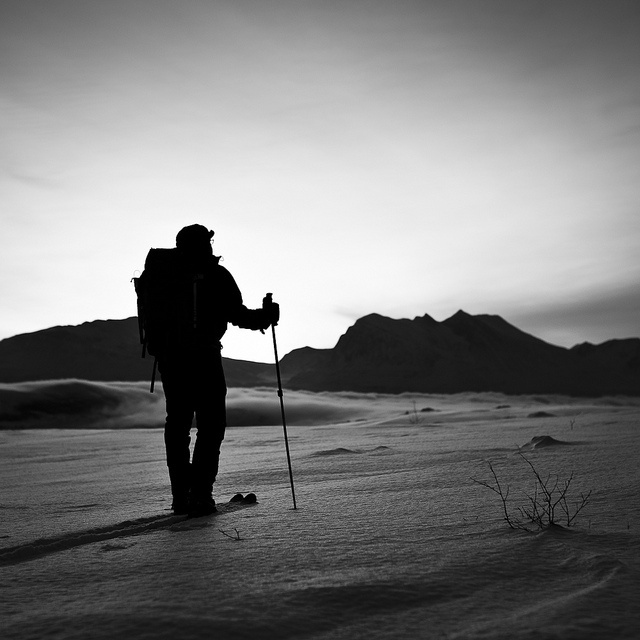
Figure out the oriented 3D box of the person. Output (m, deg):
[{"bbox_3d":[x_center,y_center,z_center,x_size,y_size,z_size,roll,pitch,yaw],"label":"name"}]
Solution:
[{"bbox_3d":[-0.704,0.260,3.789,0.597,1.829,0.841,-5,-3,39],"label":"person"}]
